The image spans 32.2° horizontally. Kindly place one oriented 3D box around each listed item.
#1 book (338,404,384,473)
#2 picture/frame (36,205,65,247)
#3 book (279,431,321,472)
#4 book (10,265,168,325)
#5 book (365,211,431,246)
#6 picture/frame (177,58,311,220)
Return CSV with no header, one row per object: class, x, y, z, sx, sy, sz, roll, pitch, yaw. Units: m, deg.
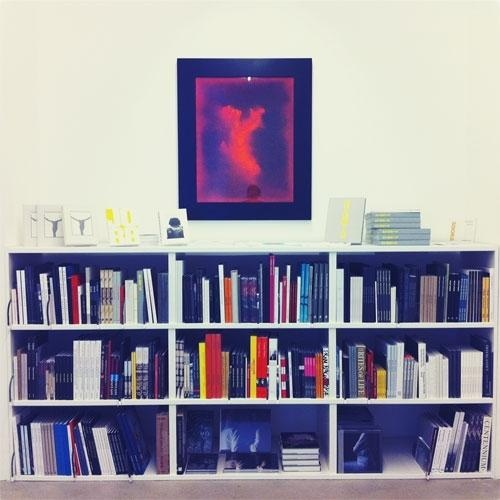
book,0.602,1.022,4.739,0.210,0.303,0.432,0,-3,6
picture/frame,-1.101,-0.143,4.822,0.160,0.249,0.032,-2,38,-17
book,0.277,1.116,4.816,0.164,0.123,0.180,0,-1,-3
book,-0.879,0.249,4.763,0.876,0.353,0.164,-4,-2,1
book,0.809,-0.115,4.785,0.359,0.150,0.178,-4,-2,15
picture/frame,-0.032,-0.634,4.999,0.755,1.030,0.075,0,-17,1
